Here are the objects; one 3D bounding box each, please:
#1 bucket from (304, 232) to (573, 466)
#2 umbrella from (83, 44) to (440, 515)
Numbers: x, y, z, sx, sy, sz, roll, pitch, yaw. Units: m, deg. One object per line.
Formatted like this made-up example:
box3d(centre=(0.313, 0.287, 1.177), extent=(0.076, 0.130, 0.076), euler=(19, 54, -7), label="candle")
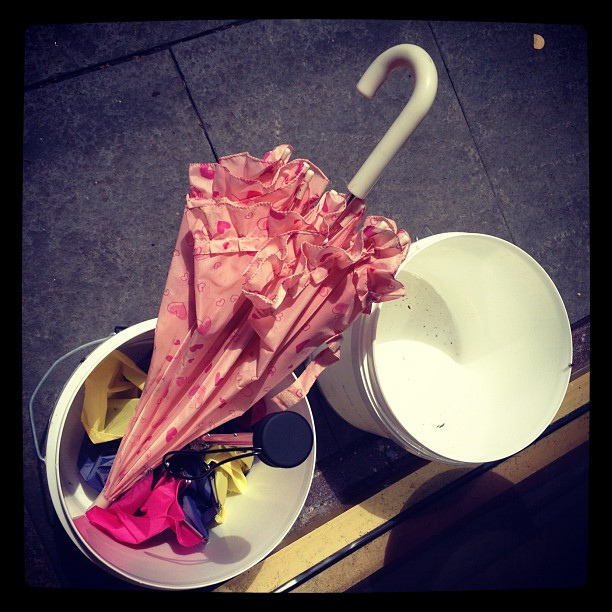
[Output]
box3d(centre=(0.315, 0.189, 1.860), extent=(0.627, 0.572, 0.646), euler=(0, 90, -9), label="bucket")
box3d(centre=(-0.061, -0.015, 1.424), extent=(0.502, 0.449, 1.062), euler=(17, 85, 0), label="umbrella")
